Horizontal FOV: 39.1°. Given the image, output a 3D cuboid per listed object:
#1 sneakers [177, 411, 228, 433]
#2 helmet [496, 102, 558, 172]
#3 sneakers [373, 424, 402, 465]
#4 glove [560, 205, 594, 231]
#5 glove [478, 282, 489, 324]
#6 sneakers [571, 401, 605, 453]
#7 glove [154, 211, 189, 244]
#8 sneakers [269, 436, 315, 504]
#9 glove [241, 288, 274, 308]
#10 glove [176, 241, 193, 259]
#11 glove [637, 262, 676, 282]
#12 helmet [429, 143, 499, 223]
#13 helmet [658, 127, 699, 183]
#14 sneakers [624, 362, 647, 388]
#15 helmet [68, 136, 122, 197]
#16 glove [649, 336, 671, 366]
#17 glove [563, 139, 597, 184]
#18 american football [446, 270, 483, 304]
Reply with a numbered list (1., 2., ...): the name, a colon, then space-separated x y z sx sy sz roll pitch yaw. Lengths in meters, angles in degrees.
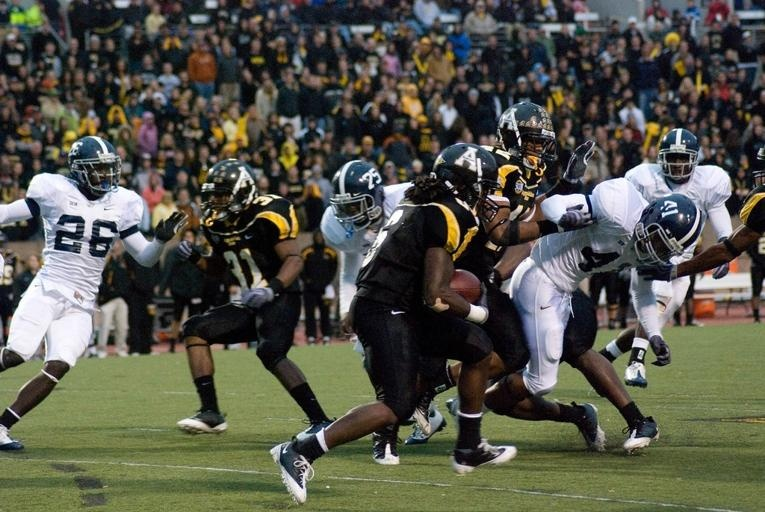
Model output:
1. sneakers: -1.408 1.310 8.554 0.400 0.184 0.160 9 -5 -22
2. helmet: 1.250 -1.073 9.368 0.619 0.583 0.467 17 16 38
3. sneakers: 0.022 1.458 8.437 0.206 0.293 0.306 -1 6 0
4. glove: 1.507 -0.305 8.441 0.172 0.102 0.228 -15 2 21
5. glove: 0.758 0.347 8.094 0.093 0.248 0.184 2 -4 -9
6. sneakers: 1.712 1.394 8.808 0.200 0.437 0.158 -19 -8 -17
7. glove: -1.784 -0.242 9.043 0.271 0.271 0.222 -1 6 -3
8. sneakers: -0.625 1.491 7.633 0.248 0.523 0.179 -30 -23 5
9. glove: -0.984 0.329 8.462 0.260 0.168 0.138 -2 6 -7
10. glove: -1.618 -0.062 8.812 0.119 0.132 0.133 6 -1 -9
11. glove: 2.474 0.140 9.684 0.282 0.102 0.221 -1 0 41
12. helmet: 0.656 -0.576 8.263 0.615 0.539 0.465 19 -2 0
13. helmet: 2.904 -0.980 10.584 0.380 0.539 0.313 0 7 8
14. sneakers: 2.292 1.077 9.783 0.169 0.180 0.388 0 6 11
15. helmet: -2.530 -0.804 9.259 0.550 0.466 0.403 14 16 23
16. glove: 2.476 0.875 9.643 0.170 0.301 0.599 0 6 12
17. glove: 1.697 -0.824 9.405 0.252 0.375 0.305 0 6 7
18. american football: 0.632 0.258 8.313 0.268 0.296 0.348 -1 -1 21
